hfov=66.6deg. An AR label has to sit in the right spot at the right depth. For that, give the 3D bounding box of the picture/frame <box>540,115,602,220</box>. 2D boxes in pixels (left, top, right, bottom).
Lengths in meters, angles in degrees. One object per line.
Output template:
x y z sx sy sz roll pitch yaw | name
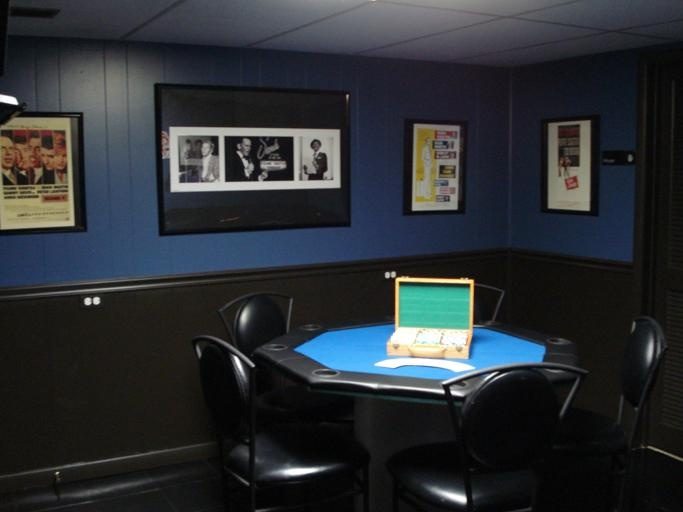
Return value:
1.890 -0.756 4.335 0.085 0.790 0.530 -5 9 -27 | picture/frame

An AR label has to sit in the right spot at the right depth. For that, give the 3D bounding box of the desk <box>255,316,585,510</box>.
0.269 0.604 2.593 1.112 0.770 1.134 -4 9 -29 | desk

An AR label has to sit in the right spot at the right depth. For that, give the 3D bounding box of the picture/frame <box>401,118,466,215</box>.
0.756 -0.799 4.479 0.744 0.949 0.036 -3 7 -26 | picture/frame
